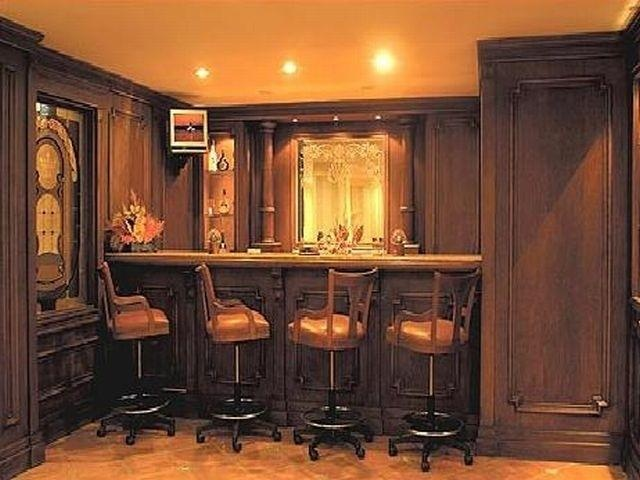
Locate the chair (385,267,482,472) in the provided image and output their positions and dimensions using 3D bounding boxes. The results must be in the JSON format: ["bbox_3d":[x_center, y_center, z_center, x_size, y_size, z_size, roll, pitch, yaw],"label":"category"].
[{"bbox_3d":[0.901,1.001,5.358,0.746,1.541,0.714,1,1,13],"label":"chair"}]

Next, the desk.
[{"bbox_3d":[-0.321,0.894,6.100,3.541,1.449,0.891,-1,-2,18],"label":"desk"}]

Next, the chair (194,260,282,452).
[{"bbox_3d":[-0.702,0.964,5.652,0.731,1.506,0.665,1,1,-10],"label":"chair"}]

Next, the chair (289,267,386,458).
[{"bbox_3d":[0.094,0.984,5.399,0.724,1.515,0.756,1,1,4],"label":"chair"}]

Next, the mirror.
[{"bbox_3d":[0.277,-0.597,7.954,1.500,1.916,0.097,0,-5,5],"label":"mirror"}]

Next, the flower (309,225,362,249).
[{"bbox_3d":[0.193,-0.015,6.316,0.399,0.151,0.312,-2,5,-1],"label":"flower"}]
